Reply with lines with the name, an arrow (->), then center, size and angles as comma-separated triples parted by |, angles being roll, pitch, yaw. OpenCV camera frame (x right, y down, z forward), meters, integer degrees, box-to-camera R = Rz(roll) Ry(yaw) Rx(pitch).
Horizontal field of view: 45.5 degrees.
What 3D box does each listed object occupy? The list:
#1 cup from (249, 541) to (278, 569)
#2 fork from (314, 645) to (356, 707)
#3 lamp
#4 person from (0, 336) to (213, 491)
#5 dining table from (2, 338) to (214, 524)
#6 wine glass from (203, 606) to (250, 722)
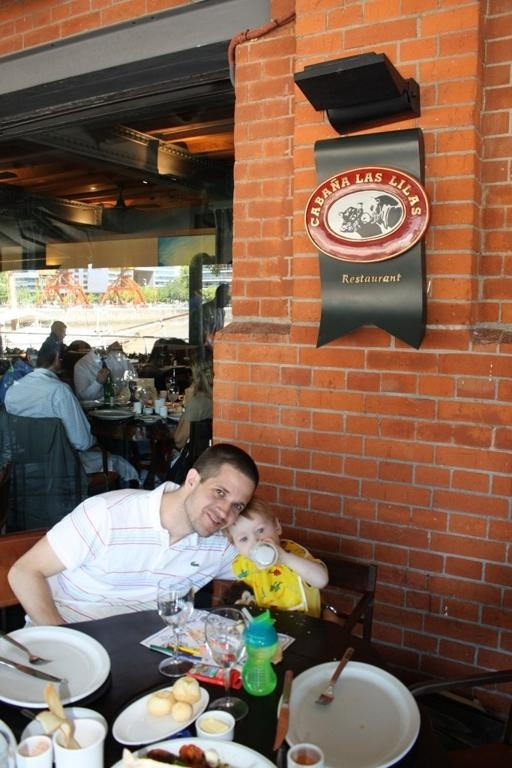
cup -> 0.022, 0.450, 1.591 | 0.061, 0.074, 0.072 | 2, 2, 5
fork -> 0.171, 0.587, 1.264 | 0.031, 0.031, 0.226 | 7, 6, 22
lamp -> 0.336, -0.955, 2.023 | 0.316, 0.092, 0.349 | 3, 2, 33
person -> -0.870, 0.238, 3.897 | 0.720, 1.154, 0.896 | 14, 30, 32
dining table -> -0.799, 0.237, 3.810 | 0.748, 1.334, 0.885 | 11, 21, 32
wine glass -> -0.063, 0.549, 1.278 | 0.086, 0.126, 0.322 | 2, 2, -4
